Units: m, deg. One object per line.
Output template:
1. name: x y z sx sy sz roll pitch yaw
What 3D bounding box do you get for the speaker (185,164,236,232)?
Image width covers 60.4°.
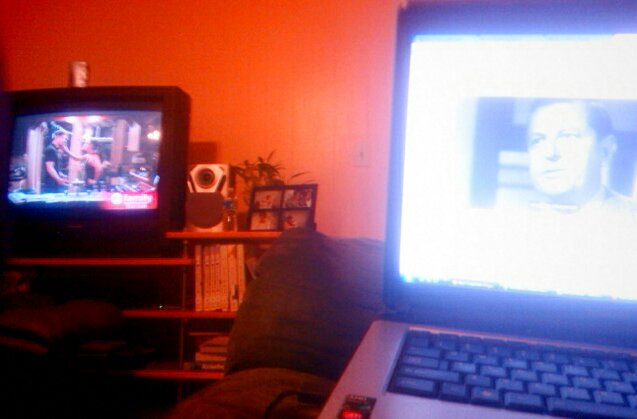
1. speaker: -0.461 -0.059 2.352 0.199 0.270 0.170 -2 11 -6

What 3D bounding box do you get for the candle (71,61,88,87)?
1. candle: -1.036 -0.586 2.367 0.065 0.105 0.109 -1 10 -22

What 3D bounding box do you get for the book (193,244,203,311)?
1. book: -0.510 0.273 2.251 0.034 0.299 0.065 -8 -11 30

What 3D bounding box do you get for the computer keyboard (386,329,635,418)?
1. computer keyboard: 0.414 0.351 1.167 0.525 0.122 0.110 4 9 6
